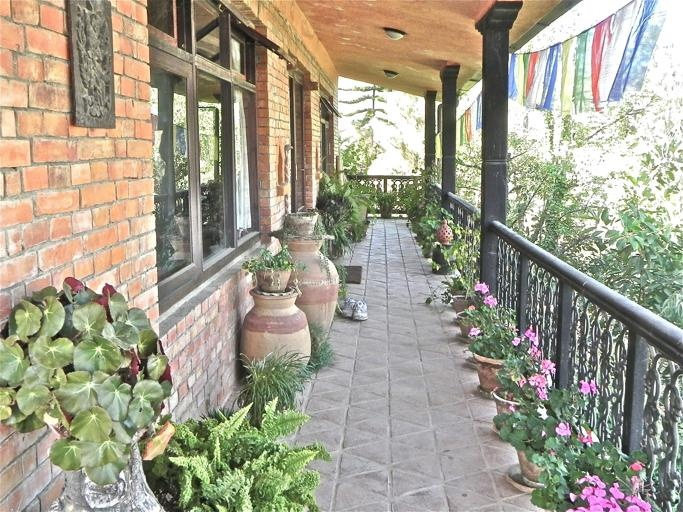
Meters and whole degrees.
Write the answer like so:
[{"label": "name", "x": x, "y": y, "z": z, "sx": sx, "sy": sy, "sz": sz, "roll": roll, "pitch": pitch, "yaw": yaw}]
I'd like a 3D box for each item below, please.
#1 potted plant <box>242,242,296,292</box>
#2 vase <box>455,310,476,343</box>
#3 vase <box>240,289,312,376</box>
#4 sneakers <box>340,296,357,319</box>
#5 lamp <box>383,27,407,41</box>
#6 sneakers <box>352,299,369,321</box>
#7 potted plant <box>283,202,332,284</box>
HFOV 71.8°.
[{"label": "potted plant", "x": -0.597, "y": 0.094, "z": 4.081, "sx": 0.359, "sy": 0.299, "sz": 0.371, "roll": 1, "pitch": -2, "yaw": -1}, {"label": "vase", "x": 1.324, "y": 0.722, "z": 5.052, "sx": 0.297, "sy": 0.356, "sz": 0.323, "roll": 0, "pitch": 5, "yaw": 3}, {"label": "vase", "x": -0.599, "y": 0.584, "z": 4.103, "sx": 0.578, "sy": 0.629, "sz": 0.575, "roll": -8, "pitch": 19, "yaw": -38}, {"label": "sneakers", "x": 0.084, "y": 0.658, "z": 5.991, "sx": 0.171, "sy": 0.242, "sz": 0.534, "roll": 2, "pitch": -1, "yaw": 2}, {"label": "lamp", "x": 0.712, "y": -2.913, "z": 6.224, "sx": 0.309, "sy": 0.116, "sz": 0.590, "roll": 2, "pitch": 12, "yaw": 6}, {"label": "sneakers", "x": 0.229, "y": 0.675, "z": 5.884, "sx": 0.201, "sy": 0.248, "sz": 0.593, "roll": 0, "pitch": 0, "yaw": 0}, {"label": "potted plant", "x": -0.275, "y": -0.184, "z": 5.219, "sx": 0.638, "sy": 0.921, "sz": 0.601, "roll": 1, "pitch": 8, "yaw": 22}]
